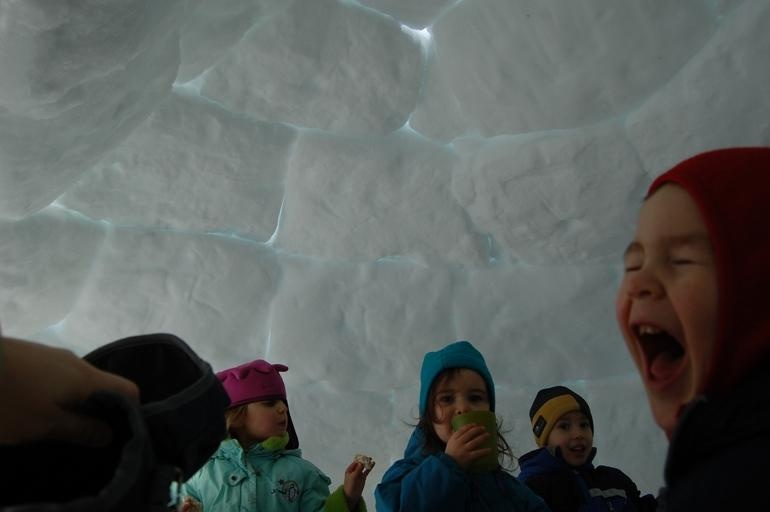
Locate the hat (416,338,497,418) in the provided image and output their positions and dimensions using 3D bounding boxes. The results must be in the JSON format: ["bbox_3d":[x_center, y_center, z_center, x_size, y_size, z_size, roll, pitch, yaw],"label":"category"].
[{"bbox_3d":[0.267,0.459,3.225,0.230,0.269,0.277,8,-32,-11],"label":"hat"}]

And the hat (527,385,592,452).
[{"bbox_3d":[0.669,0.601,3.429,0.184,0.211,0.262,8,-43,-11],"label":"hat"}]

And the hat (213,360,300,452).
[{"bbox_3d":[-0.476,0.561,3.483,0.341,0.345,0.357,-14,-7,-12],"label":"hat"}]
